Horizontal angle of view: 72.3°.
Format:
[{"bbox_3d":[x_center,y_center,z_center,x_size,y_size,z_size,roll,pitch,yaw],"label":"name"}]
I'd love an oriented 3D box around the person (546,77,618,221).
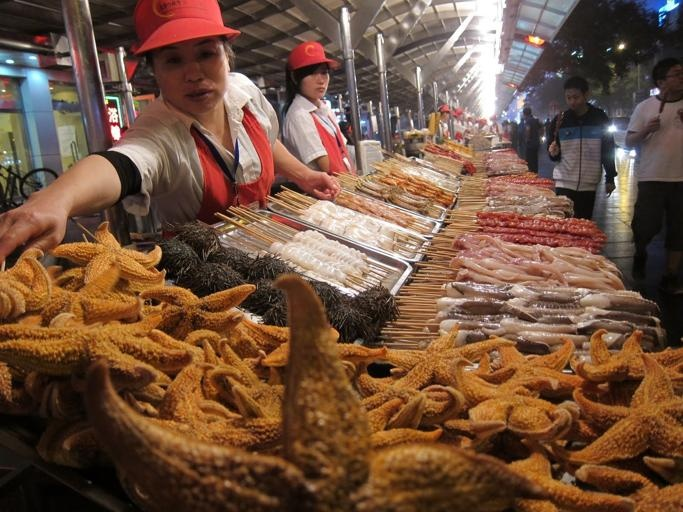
[{"bbox_3d":[2.606,-1.141,5.058,0.678,1.500,0.494,3,13,25],"label":"person"}]
